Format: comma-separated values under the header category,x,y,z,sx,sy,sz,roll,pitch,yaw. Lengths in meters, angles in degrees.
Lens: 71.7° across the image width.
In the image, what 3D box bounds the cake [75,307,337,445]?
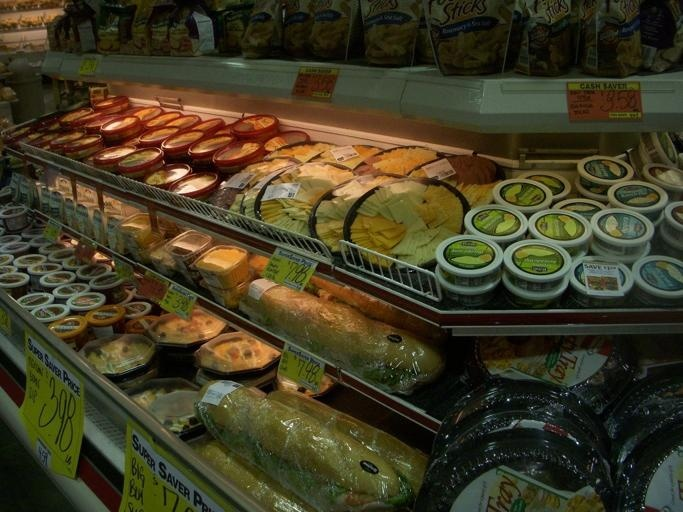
category,x,y,z,sx,sy,sz,roll,pitch,yaw
cake,-0.726,0.507,2.295,0.767,0.150,0.739,26,39,36

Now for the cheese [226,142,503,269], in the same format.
category,x,y,z,sx,sy,sz,roll,pitch,yaw
cheese,0.157,-0.185,1.645,0.752,0.176,0.514,-19,32,-8
